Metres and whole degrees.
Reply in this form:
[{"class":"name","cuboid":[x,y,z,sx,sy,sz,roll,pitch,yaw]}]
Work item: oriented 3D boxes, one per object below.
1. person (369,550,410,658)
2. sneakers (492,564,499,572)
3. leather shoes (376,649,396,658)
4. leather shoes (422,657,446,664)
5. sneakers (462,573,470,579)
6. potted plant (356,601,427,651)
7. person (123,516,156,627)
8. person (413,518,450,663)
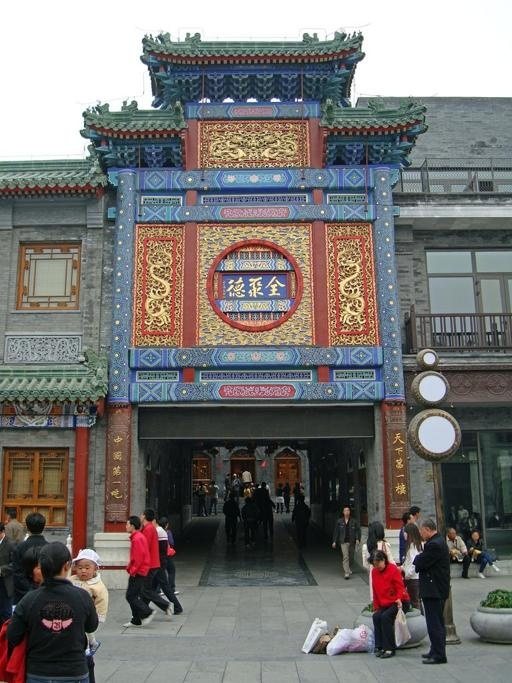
[{"class":"person","cuboid":[1.543,3.029,7.432,0.436,1.245,0.580,-5,-12,8]},{"class":"sneakers","cuboid":[5.265,4.967,14.101,0.112,0.040,0.180,9,11,-24]},{"class":"leather shoes","cuboid":[1.511,3.610,7.436,0.227,0.089,0.170,-3,-10,1]},{"class":"leather shoes","cuboid":[1.956,3.487,7.027,0.255,0.085,0.084,2,-17,7]},{"class":"sneakers","cuboid":[4.542,5.065,13.840,0.143,0.114,0.065,-1,-6,11]},{"class":"potted plant","cuboid":[1.920,3.572,8.087,0.664,0.268,0.606,-1,5,2]},{"class":"person","cuboid":[-1.687,3.306,9.190,0.373,1.591,0.693,-1,-12,-10]},{"class":"person","cuboid":[2.019,2.794,7.277,0.423,1.506,0.380,-5,-12,9]}]
